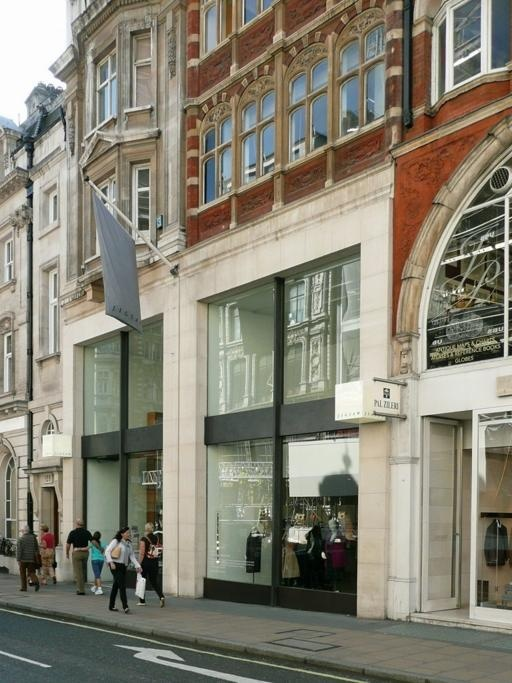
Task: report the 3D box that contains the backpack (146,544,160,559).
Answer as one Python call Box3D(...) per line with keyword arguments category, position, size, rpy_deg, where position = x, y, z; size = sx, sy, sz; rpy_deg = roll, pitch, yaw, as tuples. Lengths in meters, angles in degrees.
Box3D(category="backpack", position=(-1.853, 3.763, 23.979), size=(0.113, 0.264, 0.229), rpy_deg=(5, -6, 32))

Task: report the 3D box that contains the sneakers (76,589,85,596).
Box3D(category="sneakers", position=(-3.570, 5.123, 27.221), size=(0.217, 0.180, 0.077), rpy_deg=(-8, -11, 33))

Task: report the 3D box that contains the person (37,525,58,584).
Box3D(category="person", position=(-4.765, 4.894, 30.776), size=(0.410, 1.329, 2.032), rpy_deg=(2, -12, -8))

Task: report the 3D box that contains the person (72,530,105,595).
Box3D(category="person", position=(-3.580, 4.556, 27.721), size=(0.582, 1.788, 0.524), rpy_deg=(-7, -36, -11))

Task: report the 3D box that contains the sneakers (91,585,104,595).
Box3D(category="sneakers", position=(-3.257, 5.184, 27.687), size=(0.119, 0.190, 0.412), rpy_deg=(10, -27, -13))

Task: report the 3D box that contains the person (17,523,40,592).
Box3D(category="person", position=(-4.926, 4.776, 29.087), size=(0.508, 1.382, 1.728), rpy_deg=(2, -12, -9))

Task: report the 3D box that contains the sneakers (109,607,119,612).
Box3D(category="sneakers", position=(-2.468, 4.689, 23.375), size=(0.189, 0.117, 0.070), rpy_deg=(0, -4, -6))
